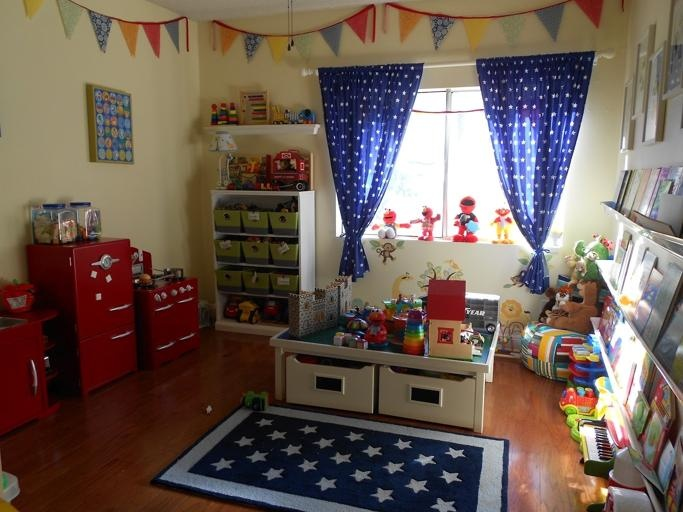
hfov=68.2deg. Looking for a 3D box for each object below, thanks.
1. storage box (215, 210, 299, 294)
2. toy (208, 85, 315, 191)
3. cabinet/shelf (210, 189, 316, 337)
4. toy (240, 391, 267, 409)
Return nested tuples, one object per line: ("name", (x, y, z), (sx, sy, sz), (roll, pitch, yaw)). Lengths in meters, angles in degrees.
("storage box", (-0.775, -0.058, 4.786), (0.611, 0.692, 0.355), (3, 11, 15))
("toy", (-0.730, -1.149, 4.867), (0.876, 0.922, 0.433), (1, 6, 9))
("cabinet/shelf", (-0.713, 0.037, 4.717), (1.112, 1.850, 0.557), (2, 6, 16))
("toy", (-0.578, 0.979, 3.463), (0.112, 0.090, 0.121), (1, -9, 8))
